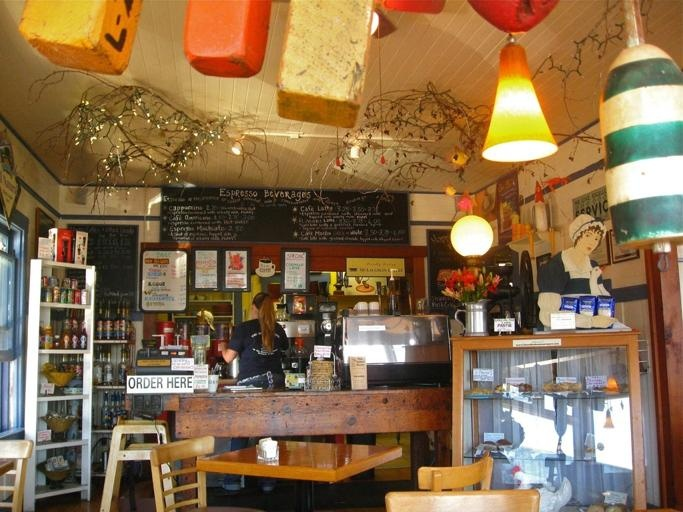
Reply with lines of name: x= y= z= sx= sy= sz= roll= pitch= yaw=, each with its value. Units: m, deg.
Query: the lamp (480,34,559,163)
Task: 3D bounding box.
lamp: x=0.560 y=-0.551 z=1.769 sx=0.227 sy=0.465 sz=0.380 roll=-5 pitch=-9 yaw=22

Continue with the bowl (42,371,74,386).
bowl: x=-2.373 y=1.033 z=4.551 sx=0.199 sy=0.135 sz=0.181 roll=-2 pitch=-8 yaw=0

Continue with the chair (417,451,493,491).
chair: x=0.434 y=0.830 z=2.008 sx=0.146 sy=0.159 sz=0.453 roll=-7 pitch=-10 yaw=28

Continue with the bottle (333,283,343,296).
bottle: x=-0.045 y=0.493 z=8.068 sx=0.150 sy=0.174 sz=0.207 roll=-1 pitch=-8 yaw=-5

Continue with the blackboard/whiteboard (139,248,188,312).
blackboard/whiteboard: x=-2.085 y=0.302 z=6.282 sx=0.721 sy=0.995 sz=0.103 roll=-1 pitch=-7 yaw=-3

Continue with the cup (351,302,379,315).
cup: x=0.176 y=0.385 z=3.945 sx=0.111 sy=0.080 sz=0.172 roll=-2 pitch=-13 yaw=5

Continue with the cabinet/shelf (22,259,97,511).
cabinet/shelf: x=-2.547 y=1.077 z=4.896 sx=0.576 sy=2.067 sz=1.487 roll=2 pitch=-9 yaw=-25

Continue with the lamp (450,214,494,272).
lamp: x=0.921 y=-0.129 z=3.935 sx=0.321 sy=0.367 sz=0.324 roll=-1 pitch=2 yaw=26

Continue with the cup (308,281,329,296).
cup: x=-0.324 y=0.464 z=7.753 sx=0.198 sy=0.243 sz=0.223 roll=-2 pitch=-28 yaw=3

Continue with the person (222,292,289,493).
person: x=-0.767 y=1.055 z=4.650 sx=0.501 sy=1.463 sz=0.545 roll=-3 pitch=8 yaw=-31

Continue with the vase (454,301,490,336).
vase: x=0.770 y=0.376 z=3.222 sx=0.203 sy=0.214 sz=0.135 roll=-9 pitch=-16 yaw=40

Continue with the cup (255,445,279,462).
cup: x=-0.358 y=0.959 z=2.603 sx=0.099 sy=0.097 sz=0.083 roll=0 pitch=-14 yaw=3

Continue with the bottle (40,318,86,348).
bottle: x=-2.425 y=0.677 z=4.713 sx=0.274 sy=0.259 sz=0.150 roll=1 pitch=-3 yaw=-7

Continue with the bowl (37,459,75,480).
bowl: x=-2.365 y=1.768 z=4.499 sx=0.207 sy=0.090 sz=0.210 roll=4 pitch=-10 yaw=1

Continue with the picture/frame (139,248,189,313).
picture/frame: x=-2.082 y=0.303 z=6.282 sx=0.728 sy=1.000 sz=0.103 roll=-1 pitch=-7 yaw=-3

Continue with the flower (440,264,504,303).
flower: x=0.813 y=0.176 z=3.383 sx=0.332 sy=0.246 sz=0.399 roll=-4 pitch=-9 yaw=11

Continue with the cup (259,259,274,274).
cup: x=-0.901 y=0.120 z=6.420 sx=0.122 sy=0.131 sz=0.195 roll=-1 pitch=-10 yaw=-1

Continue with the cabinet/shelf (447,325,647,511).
cabinet/shelf: x=1.087 y=0.855 z=2.810 sx=0.980 sy=0.949 sz=0.346 roll=-1 pitch=-5 yaw=11

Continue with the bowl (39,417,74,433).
bowl: x=-2.410 y=1.415 z=4.563 sx=0.304 sy=0.160 sz=0.170 roll=-6 pitch=-9 yaw=22
